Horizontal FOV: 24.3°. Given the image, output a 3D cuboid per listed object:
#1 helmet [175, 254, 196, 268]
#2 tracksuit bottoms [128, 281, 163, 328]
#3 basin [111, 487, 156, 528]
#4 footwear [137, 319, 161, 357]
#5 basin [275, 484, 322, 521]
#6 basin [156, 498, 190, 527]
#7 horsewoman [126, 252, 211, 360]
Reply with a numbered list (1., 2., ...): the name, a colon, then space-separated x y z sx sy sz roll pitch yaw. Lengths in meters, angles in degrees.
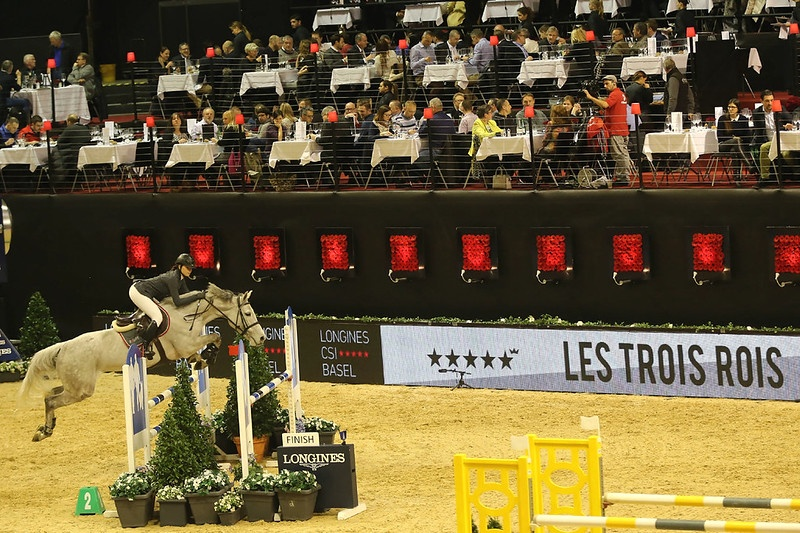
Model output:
1. helmet: -4.612 -0.090 39.045 0.399 0.242 0.296 2 2 22
2. tracksuit bottoms: -5.379 0.845 39.097 0.757 0.879 0.284 3 9 37
3. basin: -5.281 4.846 37.064 0.552 0.532 0.798 -1 0 2
4. footwear: -5.305 1.532 39.018 0.232 0.768 0.466 -6 -1 35
5. basin: -2.046 4.715 36.849 0.851 0.659 0.719 -1 3 19
6. basin: -4.533 4.884 36.818 0.511 0.415 0.534 0 0 0
7. horsewoman: -5.030 0.685 39.148 2.540 1.735 0.709 2 2 43
